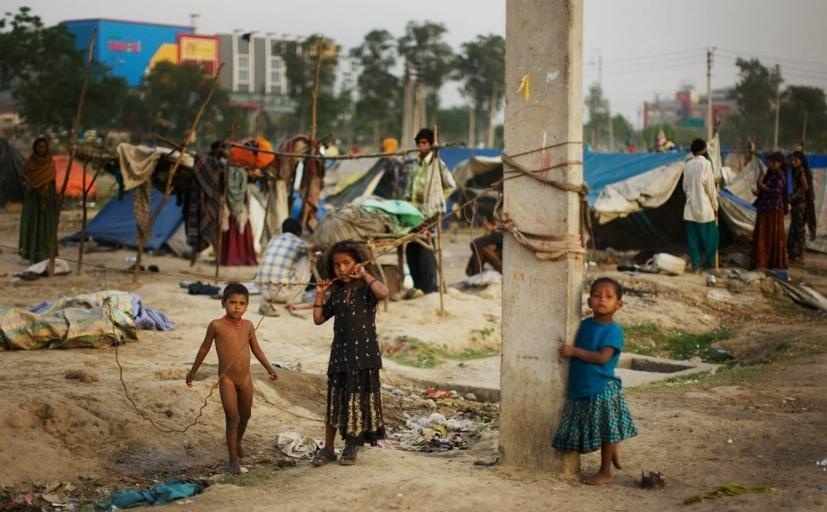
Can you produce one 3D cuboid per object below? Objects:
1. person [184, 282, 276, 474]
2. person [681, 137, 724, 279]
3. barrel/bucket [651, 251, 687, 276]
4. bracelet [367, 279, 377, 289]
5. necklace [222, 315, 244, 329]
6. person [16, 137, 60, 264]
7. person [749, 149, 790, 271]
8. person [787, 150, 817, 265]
[{"bbox_3d":[-3.191,2.119,25.246,1.252,3.345,0.599,0,4,-9],"label":"person"},{"bbox_3d":[6.453,-1.181,31.794,0.767,2.972,1.043,2,4,11],"label":"person"},{"bbox_3d":[5.698,0.159,31.515,0.600,0.417,0.503,12,1,7],"label":"barrel/bucket"},{"bbox_3d":[-0.724,0.466,25.096,0.137,0.038,0.137,-25,43,-18],"label":"bracelet"},{"bbox_3d":[-3.207,1.139,25.281,0.251,0.132,0.204,20,2,1],"label":"necklace"},{"bbox_3d":[-8.220,-1.244,31.252,1.111,2.802,0.716,3,4,27],"label":"person"},{"bbox_3d":[7.877,-1.037,31.278,0.786,2.585,0.425,2,4,15],"label":"person"},{"bbox_3d":[8.967,-1.183,32.661,0.586,2.524,0.903,2,4,16],"label":"person"}]
